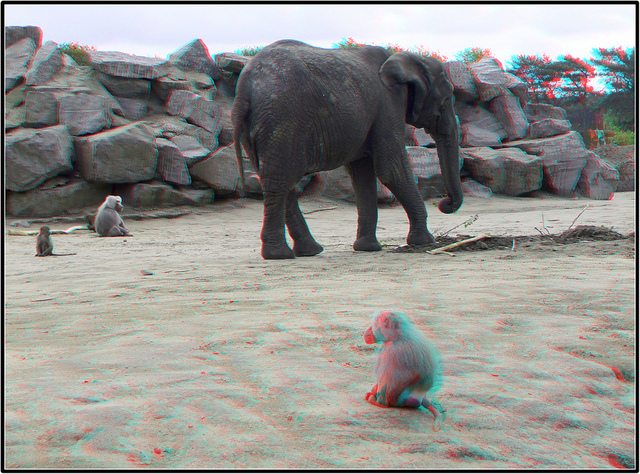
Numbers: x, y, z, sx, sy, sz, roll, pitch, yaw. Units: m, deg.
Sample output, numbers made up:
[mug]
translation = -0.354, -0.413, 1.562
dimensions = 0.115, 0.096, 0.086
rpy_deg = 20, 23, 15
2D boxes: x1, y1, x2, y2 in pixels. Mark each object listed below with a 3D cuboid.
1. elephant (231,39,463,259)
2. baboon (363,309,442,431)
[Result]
[elephant]
translation = 0.428, -1.132, 9.137
dimensions = 4.230, 2.495, 2.058
rpy_deg = -8, 5, -43
[baboon]
translation = 0.477, 0.748, 3.947
dimensions = 0.482, 0.637, 0.200
rpy_deg = -1, 8, 31
